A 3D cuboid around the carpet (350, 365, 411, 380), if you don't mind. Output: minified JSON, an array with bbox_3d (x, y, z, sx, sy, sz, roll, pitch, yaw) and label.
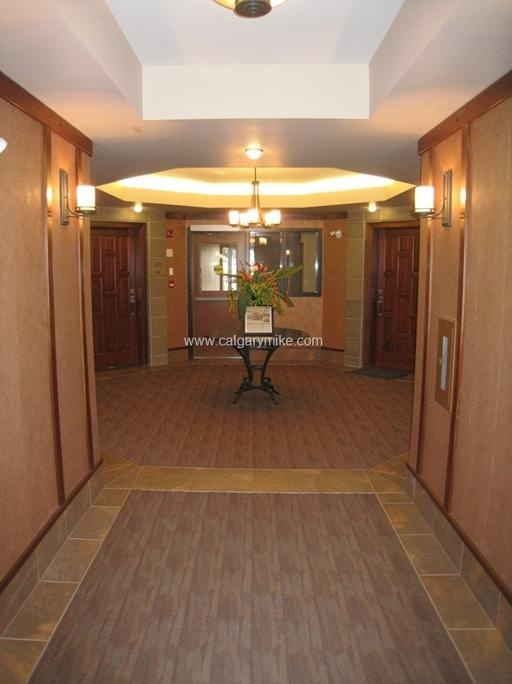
[{"bbox_3d":[2.022,0.499,7.022,0.893,0.091,0.742,2,5,24],"label":"carpet"}]

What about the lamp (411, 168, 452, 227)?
[{"bbox_3d":[1.004,-0.818,2.450,0.177,0.337,0.109,2,-7,18],"label":"lamp"}]

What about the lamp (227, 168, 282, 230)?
[{"bbox_3d":[-0.011,-1.978,5.797,0.572,0.884,0.597,-3,5,-38],"label":"lamp"}]

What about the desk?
[{"bbox_3d":[0.165,0.251,6.105,0.934,0.881,2.348,0,4,4],"label":"desk"}]

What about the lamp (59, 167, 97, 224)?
[{"bbox_3d":[-1.033,-0.853,2.522,0.175,0.351,0.110,-7,-11,-11],"label":"lamp"}]

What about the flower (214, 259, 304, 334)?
[{"bbox_3d":[0.026,-0.594,5.622,1.157,1.310,1.285,0,6,-3],"label":"flower"}]

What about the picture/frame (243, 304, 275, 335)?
[{"bbox_3d":[0.027,-0.274,5.111,0.273,0.373,0.034,-1,2,2],"label":"picture/frame"}]
